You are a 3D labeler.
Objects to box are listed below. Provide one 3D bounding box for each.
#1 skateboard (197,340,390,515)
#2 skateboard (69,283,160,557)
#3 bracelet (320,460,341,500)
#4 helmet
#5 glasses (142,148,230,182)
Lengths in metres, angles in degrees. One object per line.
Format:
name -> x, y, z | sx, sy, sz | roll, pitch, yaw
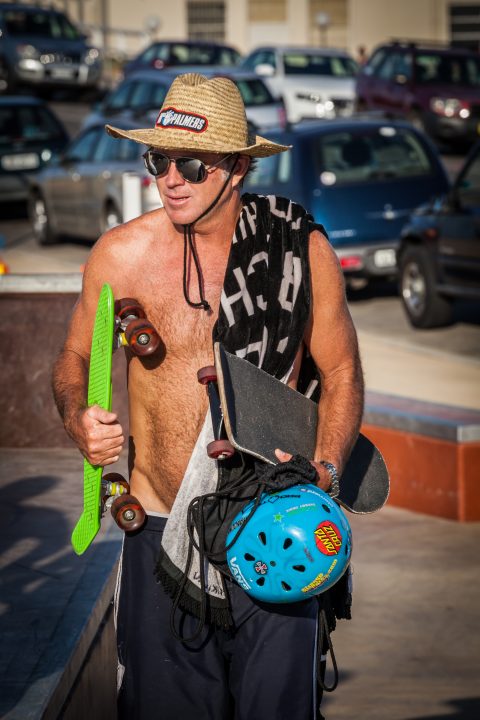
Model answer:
skateboard -> 0.075, 0.118, 1.527 | 0.222, 0.081, 0.542 | 9, 19, -1
skateboard -> -0.289, 0.141, 1.543 | 0.109, 0.599, 0.165 | 2, 17, -19
bracelet -> 0.195, 0.242, 1.495 | 0.059, 0.071, 0.030 | 6, 1, 33
helmet -> 0.092, 0.353, 1.389 | 0.178, 0.237, 0.171 | 30, 37, -33
glasses -> -0.123, -0.423, 1.612 | 0.198, 0.080, 0.140 | 0, 12, 8
